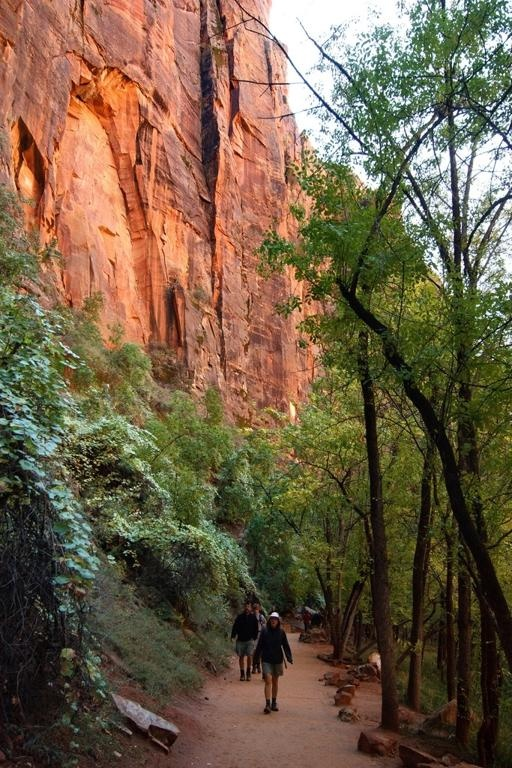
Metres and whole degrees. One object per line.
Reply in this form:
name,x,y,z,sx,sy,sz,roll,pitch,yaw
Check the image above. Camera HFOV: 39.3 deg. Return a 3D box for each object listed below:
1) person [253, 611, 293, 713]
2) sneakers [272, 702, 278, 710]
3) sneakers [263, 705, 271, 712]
person,0.249,4.239,11.035,0.577,1.420,1.477,2,-15,1
sneakers,0.265,4.748,10.526,0.059,0.081,0.185,0,-33,3
sneakers,0.150,4.678,10.287,0.057,0.075,0.178,-2,-37,5
